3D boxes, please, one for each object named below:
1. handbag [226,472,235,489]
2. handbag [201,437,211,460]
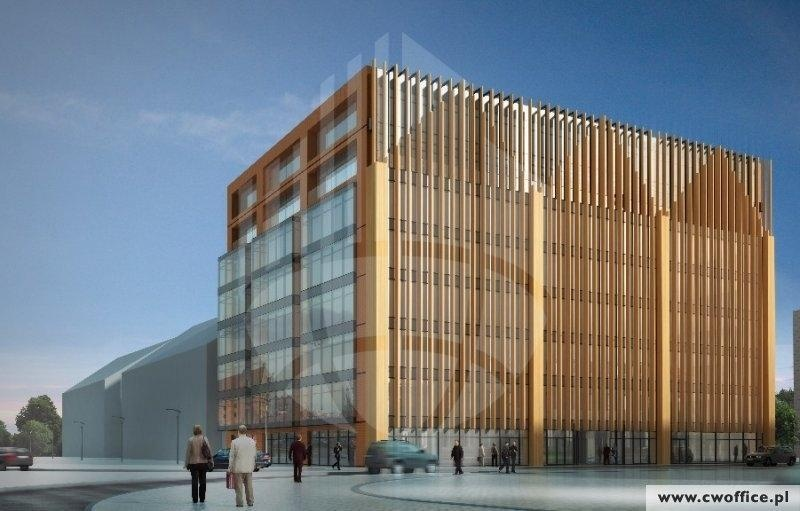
[{"bbox_3d":[-8.435,11.186,41.880,0.514,0.684,0.203,-13,-21,32],"label":"handbag"},{"bbox_3d":[-9.724,9.742,42.265,0.371,1.163,0.478,-7,-19,19],"label":"handbag"}]
